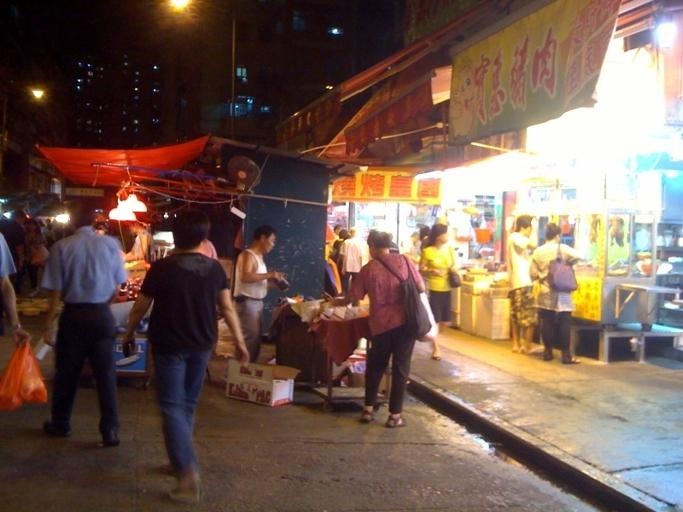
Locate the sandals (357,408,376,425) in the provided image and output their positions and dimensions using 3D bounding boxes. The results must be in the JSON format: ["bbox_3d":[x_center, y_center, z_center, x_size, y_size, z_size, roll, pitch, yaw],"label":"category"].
[{"bbox_3d":[0.298,1.902,7.143,0.162,0.155,0.350,1,0,6],"label":"sandals"}]

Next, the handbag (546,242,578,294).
[{"bbox_3d":[3.484,0.193,9.469,0.425,0.739,0.244,1,8,-1],"label":"handbag"}]

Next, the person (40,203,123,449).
[{"bbox_3d":[-2.566,0.679,5.984,0.746,2.373,0.453,1,7,-1],"label":"person"}]

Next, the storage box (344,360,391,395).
[{"bbox_3d":[0.283,1.601,8.100,0.427,0.294,0.461,2,0,1],"label":"storage box"}]

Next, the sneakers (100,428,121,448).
[{"bbox_3d":[-2.319,1.824,6.037,0.096,0.136,0.275,0,-19,-5],"label":"sneakers"}]

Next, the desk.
[{"bbox_3d":[-0.054,1.285,8.537,1.260,1.358,1.949,-4,0,35],"label":"desk"}]

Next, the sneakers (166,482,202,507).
[{"bbox_3d":[-1.343,2.009,5.153,0.268,0.198,0.131,5,-2,26],"label":"sneakers"}]

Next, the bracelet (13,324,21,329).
[{"bbox_3d":[-3.230,0.684,5.977,0.049,0.039,0.016,-34,29,1],"label":"bracelet"}]

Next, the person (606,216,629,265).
[{"bbox_3d":[4.482,-0.232,9.720,0.346,0.844,0.173,3,8,14],"label":"person"}]

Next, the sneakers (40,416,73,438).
[{"bbox_3d":[-2.897,1.740,6.132,0.327,0.158,0.127,20,18,41],"label":"sneakers"}]

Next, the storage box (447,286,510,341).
[{"bbox_3d":[2.651,1.074,11.436,0.295,0.833,0.918,1,-8,-25],"label":"storage box"}]

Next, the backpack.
[{"bbox_3d":[0.732,0.470,6.847,0.581,0.879,0.281,6,9,34],"label":"backpack"}]

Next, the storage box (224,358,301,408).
[{"bbox_3d":[-1.035,1.574,7.505,0.768,0.508,0.604,5,0,31],"label":"storage box"}]

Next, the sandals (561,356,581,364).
[{"bbox_3d":[3.624,1.629,9.510,0.258,0.120,0.123,-1,0,-16],"label":"sandals"}]

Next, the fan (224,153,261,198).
[{"bbox_3d":[-1.794,-1.509,10.966,0.607,0.634,0.309,0,8,-9],"label":"fan"}]

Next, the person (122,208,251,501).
[{"bbox_3d":[-1.364,0.822,5.294,0.963,2.436,0.726,-2,8,-19],"label":"person"}]
